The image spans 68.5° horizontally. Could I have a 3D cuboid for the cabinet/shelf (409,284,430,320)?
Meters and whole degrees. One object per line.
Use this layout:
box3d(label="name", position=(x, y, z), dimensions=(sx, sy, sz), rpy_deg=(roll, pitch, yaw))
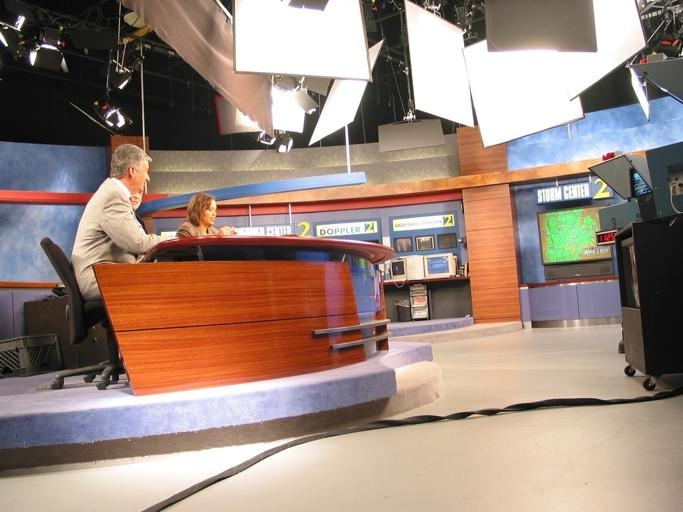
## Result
box3d(label="cabinet/shelf", position=(1.469, 0.853, 9.493), dimensions=(0.345, 0.698, 0.188), rpy_deg=(-4, 3, -2))

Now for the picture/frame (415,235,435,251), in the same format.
box3d(label="picture/frame", position=(1.694, -0.256, 10.230), dimensions=(0.487, 0.358, 0.269), rpy_deg=(-1, -7, 4))

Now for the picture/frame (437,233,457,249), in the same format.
box3d(label="picture/frame", position=(2.151, -0.294, 10.170), dimensions=(0.396, 0.314, 0.077), rpy_deg=(-3, 3, 7))

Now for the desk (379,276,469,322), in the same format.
box3d(label="desk", position=(1.725, 1.050, 10.065), dimensions=(1.716, 1.195, 0.876), rpy_deg=(-1, -3, -5))

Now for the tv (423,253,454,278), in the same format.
box3d(label="tv", position=(1.826, 0.197, 9.342), dimensions=(0.449, 0.342, 0.452), rpy_deg=(-2, -10, 8))

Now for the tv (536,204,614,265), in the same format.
box3d(label="tv", position=(4.045, -0.344, 8.671), dimensions=(1.092, 0.951, 0.112), rpy_deg=(-3, -6, 24))

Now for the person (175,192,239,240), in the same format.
box3d(label="person", position=(-1.258, -0.317, 4.635), dimensions=(0.455, 0.529, 0.743), rpy_deg=(10, 13, -3))

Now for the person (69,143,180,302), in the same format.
box3d(label="person", position=(-1.492, -0.075, 3.613), dimensions=(0.737, 1.336, 0.588), rpy_deg=(2, 15, -25))
